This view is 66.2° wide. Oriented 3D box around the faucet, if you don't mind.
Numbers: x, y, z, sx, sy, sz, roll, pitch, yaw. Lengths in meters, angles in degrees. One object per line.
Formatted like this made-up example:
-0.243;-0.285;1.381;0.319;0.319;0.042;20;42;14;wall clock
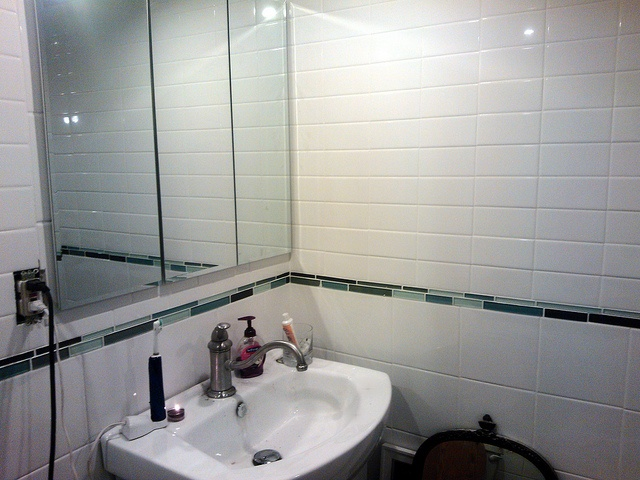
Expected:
-0.211;0.430;1.845;0.463;0.362;0.173;0;1;17;faucet
